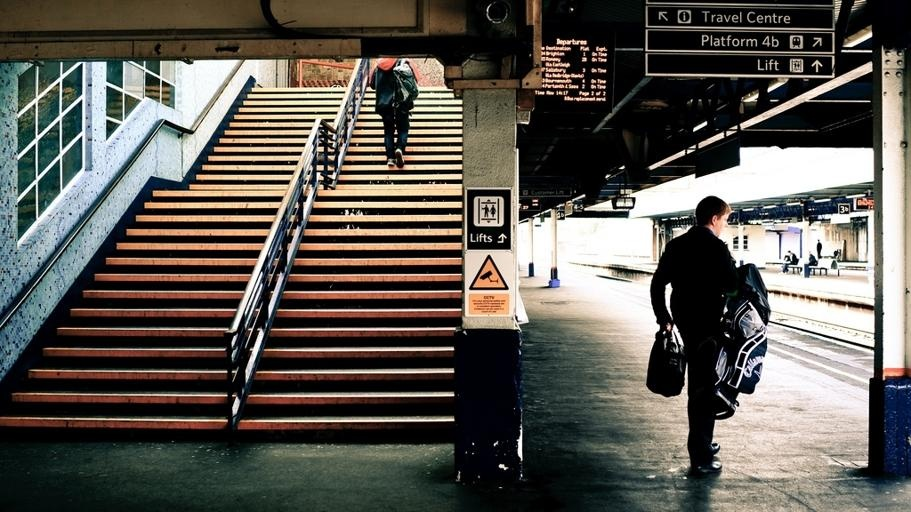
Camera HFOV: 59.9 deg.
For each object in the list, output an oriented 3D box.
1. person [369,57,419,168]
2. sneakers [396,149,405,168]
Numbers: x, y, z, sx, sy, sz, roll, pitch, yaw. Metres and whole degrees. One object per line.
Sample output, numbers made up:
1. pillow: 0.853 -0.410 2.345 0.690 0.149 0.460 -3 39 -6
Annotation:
1. person: -1.294 -3.020 16.714 0.861 2.261 0.699 1 4 12
2. sneakers: -1.147 -2.065 16.585 0.163 0.367 0.146 -4 44 10
